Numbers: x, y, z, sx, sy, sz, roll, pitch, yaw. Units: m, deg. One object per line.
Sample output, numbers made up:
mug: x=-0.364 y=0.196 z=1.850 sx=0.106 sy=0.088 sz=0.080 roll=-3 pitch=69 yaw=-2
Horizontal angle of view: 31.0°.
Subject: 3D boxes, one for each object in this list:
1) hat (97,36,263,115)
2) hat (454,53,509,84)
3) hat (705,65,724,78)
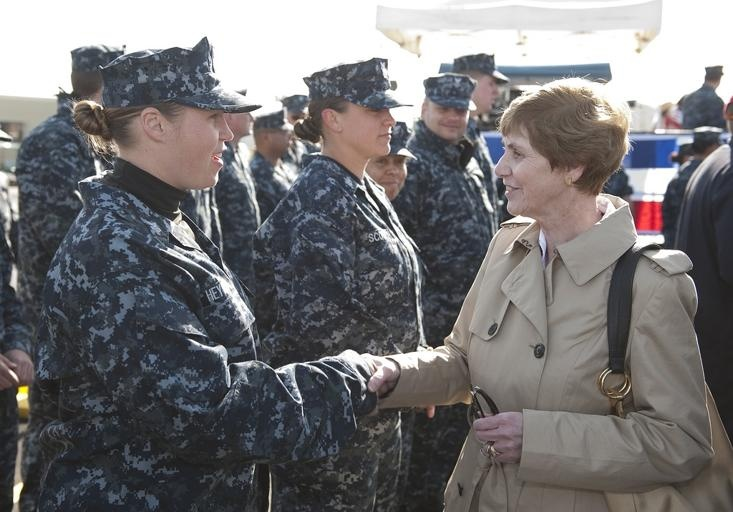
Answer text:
hat: x=-1.055 y=-0.976 z=7.082 sx=0.682 sy=0.275 sz=0.414 roll=-1 pitch=7 yaw=-12
hat: x=0.944 y=-1.569 z=10.970 sx=0.360 sy=0.133 sz=0.227 roll=4 pitch=10 yaw=-11
hat: x=2.717 y=-1.444 z=10.268 sx=0.141 sy=0.108 sz=0.105 roll=1 pitch=5 yaw=13
